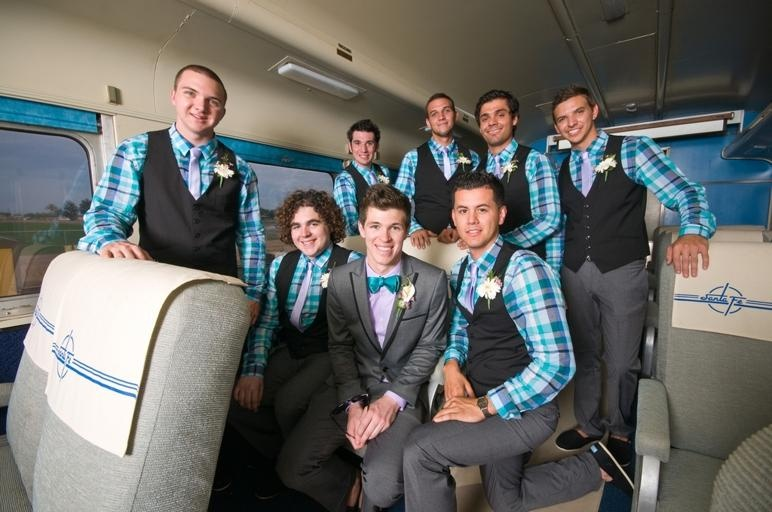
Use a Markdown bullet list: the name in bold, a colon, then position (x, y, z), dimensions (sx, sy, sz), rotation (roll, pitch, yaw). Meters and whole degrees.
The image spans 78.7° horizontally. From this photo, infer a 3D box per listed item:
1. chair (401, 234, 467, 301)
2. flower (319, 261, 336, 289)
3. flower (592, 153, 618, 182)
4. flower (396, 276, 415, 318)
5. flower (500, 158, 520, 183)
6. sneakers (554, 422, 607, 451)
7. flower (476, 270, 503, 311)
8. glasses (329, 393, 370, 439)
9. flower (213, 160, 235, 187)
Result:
- **chair**: position (0.433, 0.090, 4.808), dimensions (0.555, 0.716, 0.622), rotation (5, 12, 23)
- **flower**: position (-0.539, 0.183, 4.355), dimensions (0.188, 0.181, 0.084), rotation (10, -20, 39)
- **flower**: position (2.015, -0.843, 4.310), dimensions (0.212, 0.214, 0.088), rotation (-21, -17, 25)
- **flower**: position (0.118, 0.325, 3.876), dimensions (0.106, 0.252, 0.163), rotation (11, 13, -22)
- **flower**: position (1.206, -0.843, 4.607), dimensions (0.038, 0.203, 0.127), rotation (8, 28, -45)
- **sneakers**: position (1.681, 1.625, 4.216), dimensions (0.498, 0.173, 0.178), rotation (-2, 30, -3)
- **flower**: position (0.807, 0.255, 3.665), dimensions (0.234, 0.233, 0.107), rotation (-3, -16, 42)
- **glasses**: position (-0.273, 1.274, 3.817), dimensions (0.268, 0.092, 0.205), rotation (-23, -11, 3)
- **flower**: position (-1.375, -0.702, 3.954), dimensions (0.170, 0.180, 0.050), rotation (6, -2, -13)
